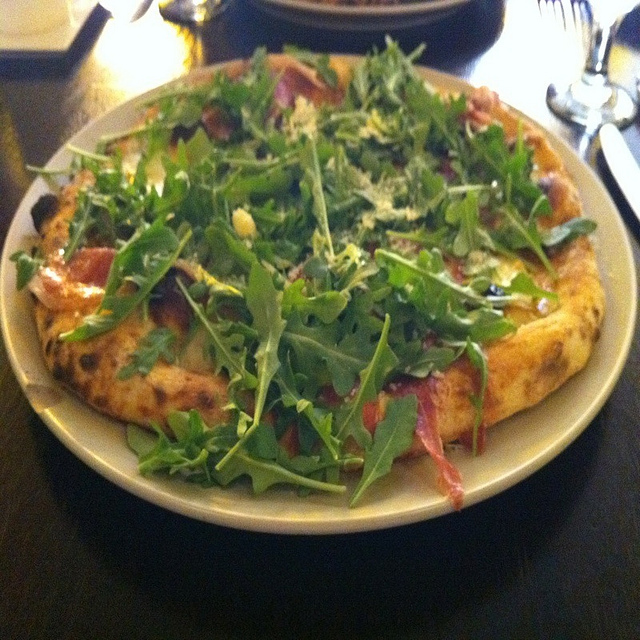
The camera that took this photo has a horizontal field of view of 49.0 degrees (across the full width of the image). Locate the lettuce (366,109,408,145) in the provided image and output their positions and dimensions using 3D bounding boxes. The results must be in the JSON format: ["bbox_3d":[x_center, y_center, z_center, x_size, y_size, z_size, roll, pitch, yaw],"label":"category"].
[{"bbox_3d":[0.142,-0.412,1.524,0.067,0.035,0.089,-1,53,-4],"label":"lettuce"}]

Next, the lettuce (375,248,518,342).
[{"bbox_3d":[0.218,-0.051,1.261,0.208,0.083,0.163,10,38,3],"label":"lettuce"}]

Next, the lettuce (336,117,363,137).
[{"bbox_3d":[0.063,-0.417,1.515,0.034,0.017,0.054,6,23,-7],"label":"lettuce"}]

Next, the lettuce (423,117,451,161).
[{"bbox_3d":[0.253,-0.389,1.530,0.083,0.022,0.063,49,25,9],"label":"lettuce"}]

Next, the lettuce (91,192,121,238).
[{"bbox_3d":[-0.413,-0.208,1.366,0.044,0.082,0.058,-10,54,-9],"label":"lettuce"}]

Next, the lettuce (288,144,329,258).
[{"bbox_3d":[-0.018,-0.261,1.366,0.041,0.047,0.271,-14,77,30],"label":"lettuce"}]

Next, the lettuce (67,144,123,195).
[{"bbox_3d":[-0.475,-0.311,1.459,0.079,0.111,0.028,-22,79,4],"label":"lettuce"}]

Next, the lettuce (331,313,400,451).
[{"bbox_3d":[0.089,0.112,1.195,0.087,0.053,0.285,-12,43,39],"label":"lettuce"}]

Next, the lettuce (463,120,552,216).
[{"bbox_3d":[0.392,-0.321,1.479,0.126,0.063,0.242,-17,59,-4],"label":"lettuce"}]

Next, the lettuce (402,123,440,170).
[{"bbox_3d":[0.216,-0.373,1.548,0.091,0.164,0.049,-33,78,6],"label":"lettuce"}]

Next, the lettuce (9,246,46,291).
[{"bbox_3d":[-0.547,-0.092,1.324,0.090,0.027,0.097,3,92,32],"label":"lettuce"}]

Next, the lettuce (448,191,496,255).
[{"bbox_3d":[0.292,-0.182,1.386,0.085,0.134,0.036,-2,14,-4],"label":"lettuce"}]

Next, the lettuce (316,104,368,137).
[{"bbox_3d":[0.047,-0.442,1.527,0.072,0.027,0.076,-33,40,3],"label":"lettuce"}]

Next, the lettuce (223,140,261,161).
[{"bbox_3d":[-0.172,-0.369,1.525,0.057,0.022,0.061,-6,35,9],"label":"lettuce"}]

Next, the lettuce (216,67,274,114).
[{"bbox_3d":[-0.166,-0.517,1.590,0.107,0.066,0.114,16,24,24],"label":"lettuce"}]

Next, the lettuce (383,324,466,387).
[{"bbox_3d":[0.189,0.048,1.240,0.103,0.035,0.102,-13,27,-27],"label":"lettuce"}]

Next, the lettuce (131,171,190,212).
[{"bbox_3d":[-0.288,-0.234,1.351,0.097,0.084,0.041,7,73,38],"label":"lettuce"}]

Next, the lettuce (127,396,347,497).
[{"bbox_3d":[-0.147,0.218,1.135,0.297,0.088,0.166,16,49,-4],"label":"lettuce"}]

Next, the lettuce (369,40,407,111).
[{"bbox_3d":[0.150,-0.565,1.608,0.061,0.053,0.185,7,49,-21],"label":"lettuce"}]

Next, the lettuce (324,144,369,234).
[{"bbox_3d":[0.051,-0.260,1.433,0.093,0.159,0.100,-40,64,-9],"label":"lettuce"}]

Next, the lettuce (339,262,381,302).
[{"bbox_3d":[0.075,-0.078,1.245,0.075,0.053,0.024,-37,102,-28],"label":"lettuce"}]

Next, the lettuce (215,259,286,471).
[{"bbox_3d":[-0.106,0.110,1.130,0.077,0.031,0.401,4,79,7],"label":"lettuce"}]
